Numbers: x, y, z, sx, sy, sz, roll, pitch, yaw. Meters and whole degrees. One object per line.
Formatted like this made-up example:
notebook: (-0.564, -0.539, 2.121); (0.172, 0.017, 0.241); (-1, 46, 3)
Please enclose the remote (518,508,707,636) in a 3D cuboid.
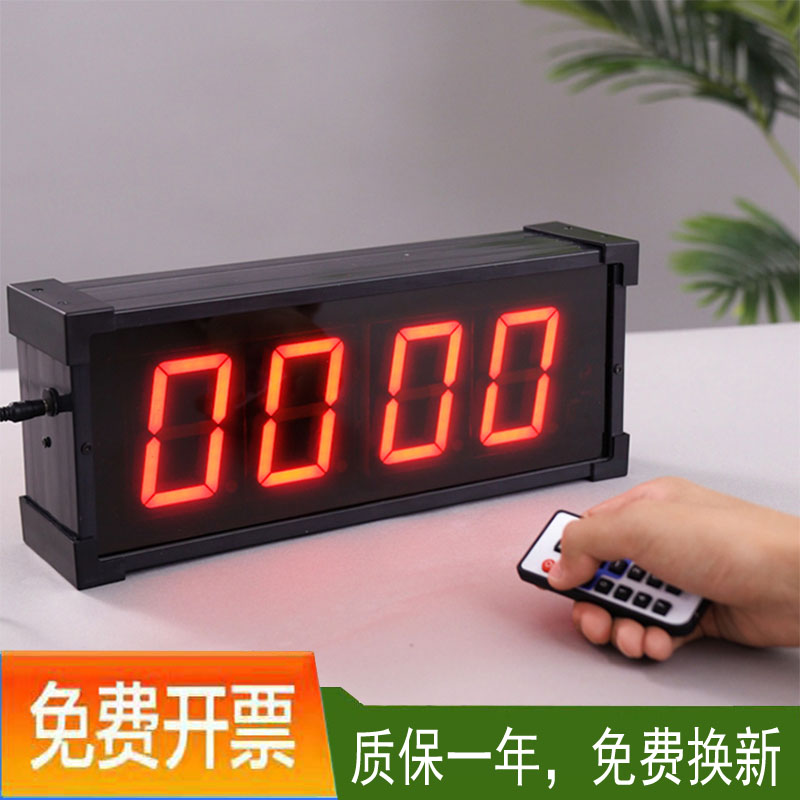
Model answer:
remote: (0.220, 0.182, 0.925); (0.180, 0.090, 0.035); (23, -33, 39)
